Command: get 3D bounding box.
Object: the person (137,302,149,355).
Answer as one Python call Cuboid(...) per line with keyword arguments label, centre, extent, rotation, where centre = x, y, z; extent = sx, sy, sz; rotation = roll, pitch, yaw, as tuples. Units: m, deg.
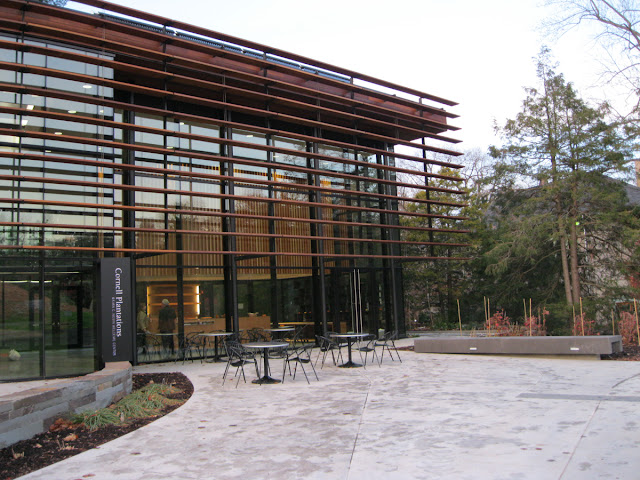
Cuboid(label="person", centre=(-5.057, 2.575, 14.780), extent=(0.291, 1.164, 0.124), rotation=(-3, 1, -25))
